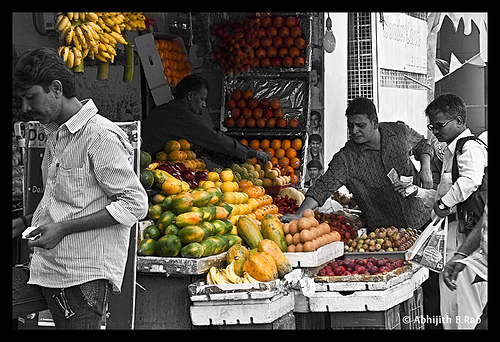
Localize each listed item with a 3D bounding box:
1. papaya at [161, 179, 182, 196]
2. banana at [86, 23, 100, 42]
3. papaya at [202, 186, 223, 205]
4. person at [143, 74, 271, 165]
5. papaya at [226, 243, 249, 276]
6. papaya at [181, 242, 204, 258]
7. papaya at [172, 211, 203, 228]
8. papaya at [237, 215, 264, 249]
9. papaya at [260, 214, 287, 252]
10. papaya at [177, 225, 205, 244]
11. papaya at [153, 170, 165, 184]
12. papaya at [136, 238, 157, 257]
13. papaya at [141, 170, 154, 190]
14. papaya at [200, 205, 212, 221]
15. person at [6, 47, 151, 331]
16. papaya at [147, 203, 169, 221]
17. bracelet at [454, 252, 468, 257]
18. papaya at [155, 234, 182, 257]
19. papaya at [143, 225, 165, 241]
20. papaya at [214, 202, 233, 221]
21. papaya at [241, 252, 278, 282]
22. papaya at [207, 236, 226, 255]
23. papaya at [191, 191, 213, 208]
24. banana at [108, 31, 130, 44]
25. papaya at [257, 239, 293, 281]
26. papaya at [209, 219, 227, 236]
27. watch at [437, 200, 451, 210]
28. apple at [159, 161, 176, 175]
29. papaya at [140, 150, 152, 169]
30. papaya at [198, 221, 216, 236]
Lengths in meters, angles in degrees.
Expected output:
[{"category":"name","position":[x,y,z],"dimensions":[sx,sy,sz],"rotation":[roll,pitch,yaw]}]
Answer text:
[{"category":"papaya","position":[-0.665,0.140,3.958],"dimensions":[0.151,0.115,0.121],"rotation":[2,42,-8]},{"category":"banana","position":[-1.345,-1.182,4.049],"dimensions":[0.044,0.166,0.048],"rotation":[-32,17,-9]},{"category":"papaya","position":[-0.324,0.215,4.090],"dimensions":[0.153,0.121,0.116],"rotation":[5,-5,4]},{"category":"person","position":[-0.562,-0.602,5.577],"dimensions":[1.480,1.035,0.576],"rotation":[-3,8,-33]},{"category":"papaya","position":[-0.086,0.722,3.796],"dimensions":[0.157,0.197,0.218],"rotation":[11,-26,14]},{"category":"papaya","position":[-0.444,0.615,3.611],"dimensions":[0.131,0.105,0.103],"rotation":[-3,-32,5]},{"category":"papaya","position":[-0.491,0.390,3.742],"dimensions":[0.199,0.100,0.096],"rotation":[-8,7,-15]},{"category":"papaya","position":[-0.003,0.537,4.235],"dimensions":[0.154,0.324,0.147],"rotation":[-38,-21,18]},{"category":"papaya","position":[0.218,0.564,4.221],"dimensions":[0.190,0.389,0.187],"rotation":[-21,-15,-11]},{"category":"papaya","position":[-0.458,0.498,3.658],"dimensions":[0.164,0.131,0.119],"rotation":[-7,8,6]},{"category":"papaya","position":[-0.777,0.057,4.009],"dimensions":[0.081,0.105,0.036],"rotation":[-43,12,-29]},{"category":"papaya","position":[-0.822,0.604,3.698],"dimensions":[0.098,0.105,0.136],"rotation":[-4,7,43]},{"category":"papaya","position":[-0.861,0.082,3.924],"dimensions":[0.080,0.170,0.123],"rotation":[5,8,28]},{"category":"papaya","position":[-0.359,0.348,3.898],"dimensions":[0.083,0.110,0.065],"rotation":[2,-6,-18]},{"category":"person","position":[-1.100,0.147,2.937],"dimensions":[0.835,1.771,0.506],"rotation":[3,7,12]},{"category":"papaya","position":[-0.774,0.343,3.952],"dimensions":[0.150,0.118,0.111],"rotation":[-20,-7,-14]},{"category":"bracelet","position":[1.673,0.667,3.749],"dimensions":[0.105,0.034,0.032],"rotation":[1,7,-8]},{"category":"papaya","position":[-0.652,0.593,3.691],"dimensions":[0.236,0.179,0.097],"rotation":[4,7,16]},{"category":"papaya","position":[-0.785,0.509,3.845],"dimensions":[0.142,0.112,0.104],"rotation":[-4,-13,-29]},{"category":"papaya","position":[-0.235,0.354,4.114],"dimensions":[0.089,0.094,0.167],"rotation":[-5,6,5]},{"category":"papaya","position":[0.098,0.741,3.630],"dimensions":[0.199,0.264,0.211],"rotation":[-42,16,6]},{"category":"papaya","position":[-0.274,0.612,3.825],"dimensions":[0.143,0.087,0.118],"rotation":[-2,-1,-25]},{"category":"papaya","position":[-0.399,0.247,3.907],"dimensions":[0.148,0.093,0.089],"rotation":[1,21,-19]},{"category":"banana","position":[-1.184,-1.173,4.237],"dimensions":[0.054,0.048,0.178],"rotation":[32,-3,40]},{"category":"papaya","position":[0.217,0.689,3.858],"dimensions":[0.171,0.364,0.178],"rotation":[-35,-23,-16]},{"category":"papaya","position":[-0.261,0.480,3.983],"dimensions":[0.100,0.085,0.136],"rotation":[0,2,-1]},{"category":"watch","position":[1.783,0.327,4.373],"dimensions":[0.064,0.030,0.075],"rotation":[27,-10,5]},{"category":"apple","position":[-0.754,-0.018,4.274],"dimensions":[0.135,0.090,0.229],"rotation":[1,7,-3]},{"category":"papaya","position":[-0.897,-0.093,4.030],"dimensions":[0.084,0.139,0.197],"rotation":[0,7,-14]},{"category":"papaya","position":[-0.349,0.470,3.825],"dimensions":[0.125,0.098,0.091],"rotation":[5,-9,-23]}]
